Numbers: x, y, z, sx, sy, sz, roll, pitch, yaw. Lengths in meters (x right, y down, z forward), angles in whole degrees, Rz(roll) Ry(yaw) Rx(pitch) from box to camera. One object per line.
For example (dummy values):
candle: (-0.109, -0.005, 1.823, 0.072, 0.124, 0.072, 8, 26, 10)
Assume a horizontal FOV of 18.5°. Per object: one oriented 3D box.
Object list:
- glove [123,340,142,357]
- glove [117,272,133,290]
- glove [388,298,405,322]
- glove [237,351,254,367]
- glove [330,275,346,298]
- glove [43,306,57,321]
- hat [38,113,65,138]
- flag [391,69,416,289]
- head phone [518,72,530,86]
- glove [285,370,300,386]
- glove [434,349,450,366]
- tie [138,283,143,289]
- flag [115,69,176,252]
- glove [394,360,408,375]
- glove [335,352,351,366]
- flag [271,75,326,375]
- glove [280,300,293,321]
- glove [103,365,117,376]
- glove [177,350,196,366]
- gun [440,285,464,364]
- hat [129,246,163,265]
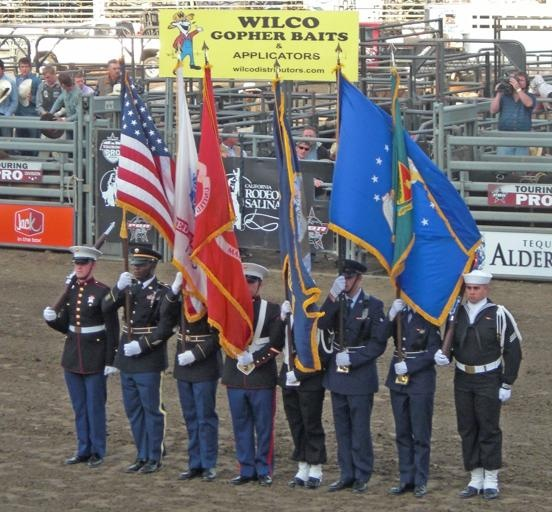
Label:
glove: (-1.813, 1.153, 21.347, 0.206, 0.152, 0.101, -26, -19, -16)
glove: (-1.916, 0.326, 21.475, 0.200, 0.260, 0.317, -3, 8, -6)
glove: (1.449, 0.677, 20.849, 0.091, 0.260, 0.194, 32, 16, 24)
glove: (-0.372, 1.262, 21.173, 0.172, 0.179, 0.179, 6, 19, 20)
glove: (0.727, 0.381, 21.019, 0.086, 0.262, 0.195, 28, 19, 24)
glove: (-2.906, 0.737, 21.801, 0.143, 0.176, 0.178, 1, 42, -15)
hat: (-4.103, -2.363, 31.037, 0.408, 0.472, 0.581, -4, 8, -8)
flag: (1.514, -0.898, 20.872, 0.277, 2.747, 0.447, -2, 8, 4)
head phone: (4.322, -3.077, 29.957, 0.190, 0.249, 0.254, -9, -12, 3)
glove: (0.199, 1.525, 21.158, 0.188, 0.177, 0.174, 1, 10, -2)
glove: (2.029, 1.250, 20.860, 0.200, 0.187, 0.161, -1, 5, 6)
tie: (-1.744, 0.391, 21.727, 0.054, 0.072, 0.021, 2, 1, 30)
flag: (-1.679, -1.232, 21.498, 0.742, 2.190, 0.673, -3, 8, -4)
glove: (1.524, 1.385, 20.942, 0.209, 0.186, 0.141, 1, 9, 24)
glove: (0.818, 1.261, 20.949, 0.157, 0.155, 0.162, -3, 7, -17)
flag: (0.254, -0.365, 20.968, 0.370, 3.667, 0.724, -4, 8, -11)
glove: (0.137, 0.677, 21.116, 0.079, 0.214, 0.158, 6, -15, -33)
glove: (-2.107, 1.450, 21.547, 0.133, 0.126, 0.108, 5, 2, -40)
glove: (-1.119, 1.269, 21.265, 0.206, 0.179, 0.160, 6, -2, 23)
gun: (2.167, 0.837, 20.931, 0.046, 0.978, 0.233, 29, -19, -33)
hat: (-1.648, 0.000, 21.717, 0.287, 0.166, 0.325, -3, -6, 35)
